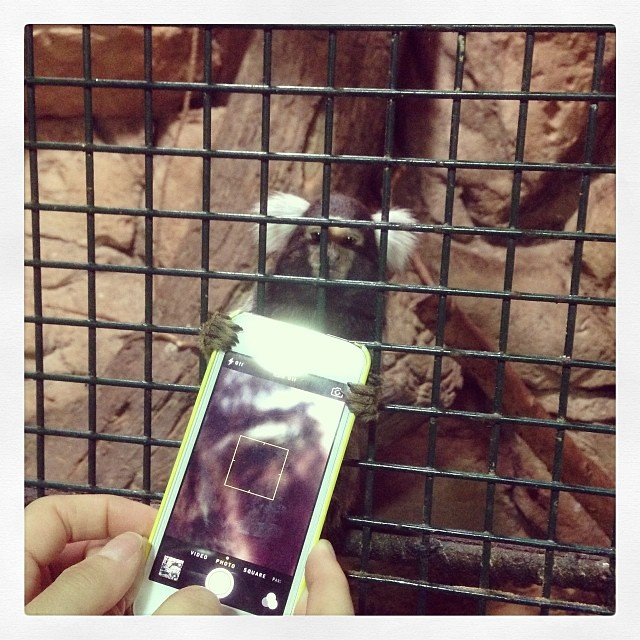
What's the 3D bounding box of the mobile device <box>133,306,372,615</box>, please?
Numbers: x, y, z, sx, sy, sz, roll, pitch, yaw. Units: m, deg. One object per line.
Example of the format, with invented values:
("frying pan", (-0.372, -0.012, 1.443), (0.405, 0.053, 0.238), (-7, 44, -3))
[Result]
("mobile device", (-0.095, 0.217, 1.435), (0.265, 0.056, 0.535), (18, -94, 7))
